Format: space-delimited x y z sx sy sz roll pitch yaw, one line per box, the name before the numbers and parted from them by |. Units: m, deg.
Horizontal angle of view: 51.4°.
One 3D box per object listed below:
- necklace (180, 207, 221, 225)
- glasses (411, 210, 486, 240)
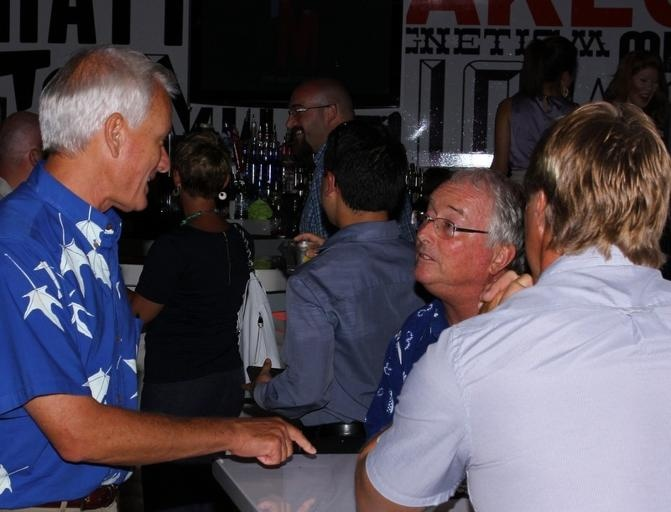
necklace | -0.617 -0.186 3.169 0.156 0.043 0.131 -22 -6 30
glasses | 0.355 -0.091 2.142 0.122 0.039 0.118 7 6 -22
